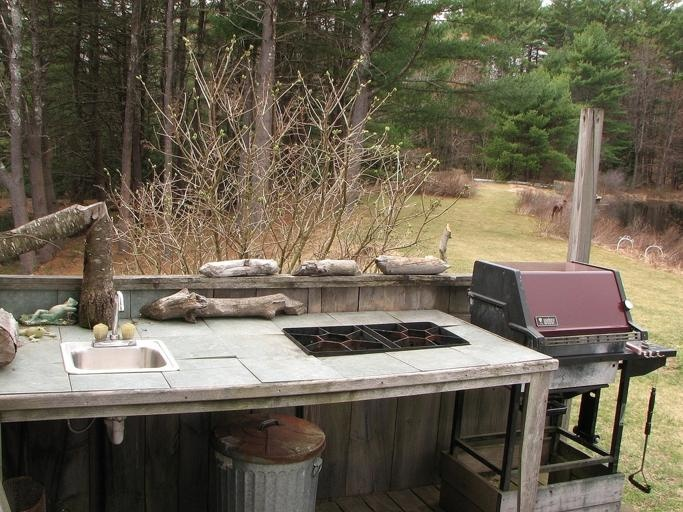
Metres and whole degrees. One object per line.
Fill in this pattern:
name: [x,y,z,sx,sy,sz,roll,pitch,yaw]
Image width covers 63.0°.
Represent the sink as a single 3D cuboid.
sink: [-1.204,0.582,3.056,0.508,0.172,0.615,-1,6,-28]
